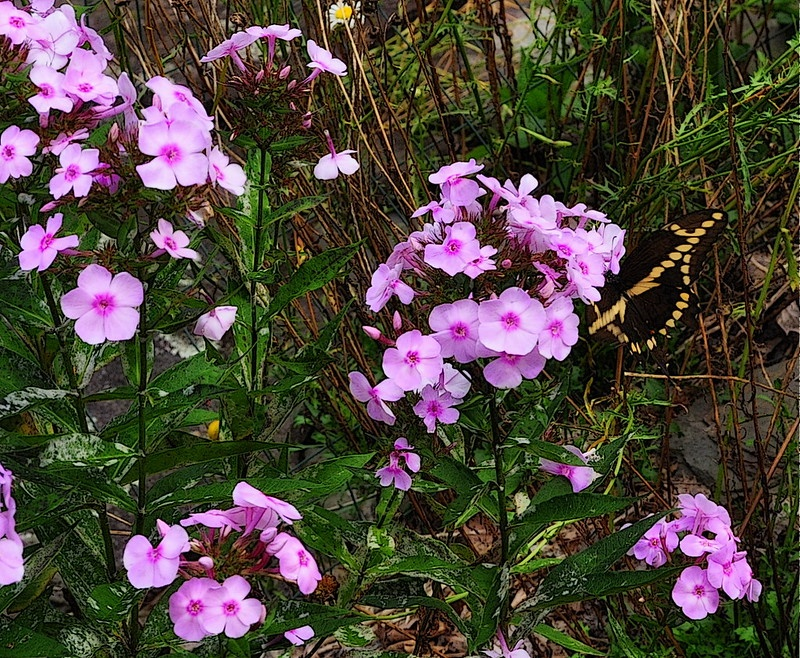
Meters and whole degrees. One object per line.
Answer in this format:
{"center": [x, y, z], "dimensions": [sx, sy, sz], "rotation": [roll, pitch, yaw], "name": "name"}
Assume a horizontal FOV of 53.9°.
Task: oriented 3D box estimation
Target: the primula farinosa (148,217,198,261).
{"center": [-0.481, -0.181, 1.722], "dimensions": [0.105, 0.125, 0.044], "rotation": [-4, 58, 2], "name": "primula farinosa"}

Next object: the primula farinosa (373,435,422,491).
{"center": [-0.001, 0.340, 1.843], "dimensions": [0.110, 0.125, 0.048], "rotation": [-13, 20, 23], "name": "primula farinosa"}
